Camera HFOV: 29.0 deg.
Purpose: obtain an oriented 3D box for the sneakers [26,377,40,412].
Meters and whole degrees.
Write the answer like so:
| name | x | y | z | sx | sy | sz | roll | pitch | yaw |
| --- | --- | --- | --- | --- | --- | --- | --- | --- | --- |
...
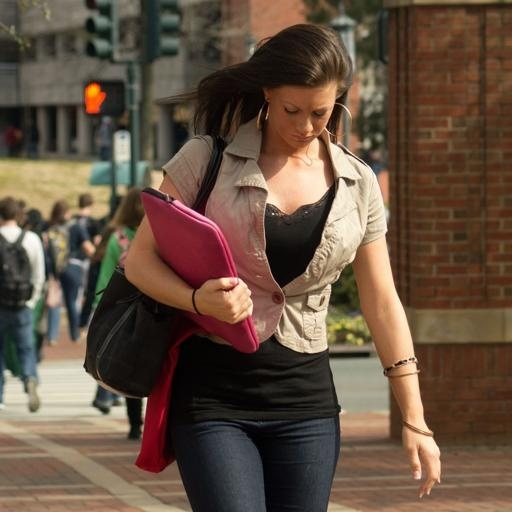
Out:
| name | x | y | z | sx | sy | sz | roll | pitch | yaw |
| --- | --- | --- | --- | --- | --- | --- | --- | --- | --- |
| sneakers | -1.987 | 1.253 | 8.980 | 0.114 | 0.328 | 0.138 | -8 | -15 | -26 |

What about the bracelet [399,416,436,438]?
| name | x | y | z | sx | sy | sz | roll | pitch | yaw |
| --- | --- | --- | --- | --- | --- | --- | --- | --- | --- |
| bracelet | 0.500 | 0.530 | 3.007 | 0.068 | 0.016 | 0.063 | 23 | 0 | -5 |

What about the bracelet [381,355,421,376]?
| name | x | y | z | sx | sy | sz | roll | pitch | yaw |
| --- | --- | --- | --- | --- | --- | --- | --- | --- | --- |
| bracelet | 0.460 | 0.331 | 3.053 | 0.108 | 0.029 | 0.095 | -23 | -3 | -10 |

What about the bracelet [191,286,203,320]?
| name | x | y | z | sx | sy | sz | roll | pitch | yaw |
| --- | --- | --- | --- | --- | --- | --- | --- | --- | --- |
| bracelet | -0.161 | 0.127 | 2.704 | 0.016 | 0.058 | 0.063 | -1 | -15 | 14 |

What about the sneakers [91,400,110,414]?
| name | x | y | z | sx | sy | sz | roll | pitch | yaw |
| --- | --- | --- | --- | --- | --- | --- | --- | --- | --- |
| sneakers | -1.395 | 1.368 | 8.963 | 0.165 | 0.139 | 0.163 | 3 | -2 | -8 |
